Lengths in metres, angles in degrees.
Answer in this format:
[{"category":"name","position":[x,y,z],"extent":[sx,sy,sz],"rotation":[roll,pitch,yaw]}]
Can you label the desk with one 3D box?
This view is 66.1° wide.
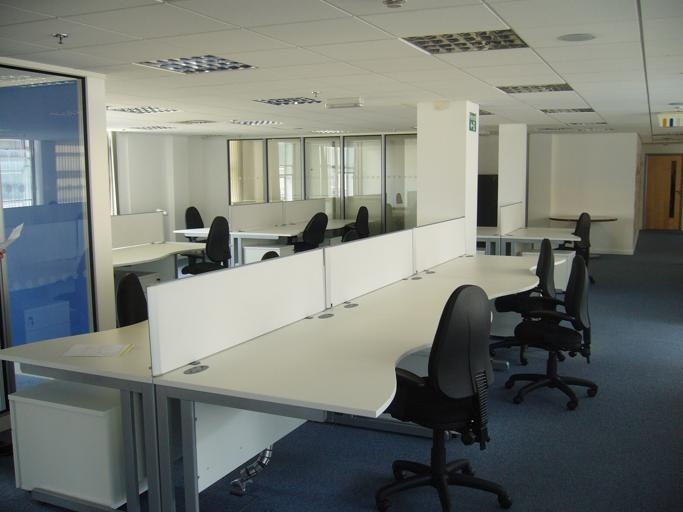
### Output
[{"category":"desk","position":[-0.106,0.587,3.796],"extent":[2.011,1.276,3.185],"rotation":[6,12,33]}]
